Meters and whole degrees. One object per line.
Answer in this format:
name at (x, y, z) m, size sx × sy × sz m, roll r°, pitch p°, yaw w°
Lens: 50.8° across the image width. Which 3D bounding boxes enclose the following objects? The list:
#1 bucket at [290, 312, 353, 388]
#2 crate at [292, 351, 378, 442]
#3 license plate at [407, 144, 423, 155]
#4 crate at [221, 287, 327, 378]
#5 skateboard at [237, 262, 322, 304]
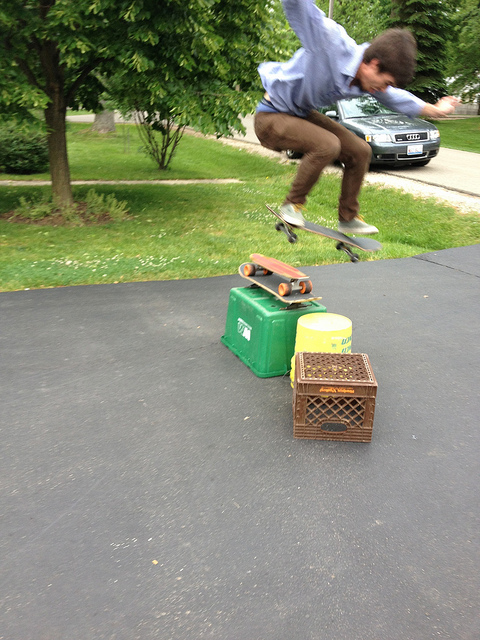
bucket at (0.632, 0.147, 3.850) m, size 0.547 × 0.552 × 0.533 m, roll 0°, pitch 19°, yaw 0°
crate at (0.602, 0.479, 3.254) m, size 0.520 × 0.398 × 0.543 m, roll 5°, pitch 22°, yaw 3°
license plate at (4.503, -4.412, 13.045) m, size 0.550 × 0.259 × 0.052 m, roll -10°, pitch 26°, yaw -31°
crate at (0.335, 0.050, 4.157) m, size 0.733 × 0.494 × 0.848 m, roll -7°, pitch 29°, yaw -30°
skateboard at (0.260, -0.300, 4.147) m, size 0.293 × 0.120 × 0.911 m, roll -7°, pitch 30°, yaw -24°
